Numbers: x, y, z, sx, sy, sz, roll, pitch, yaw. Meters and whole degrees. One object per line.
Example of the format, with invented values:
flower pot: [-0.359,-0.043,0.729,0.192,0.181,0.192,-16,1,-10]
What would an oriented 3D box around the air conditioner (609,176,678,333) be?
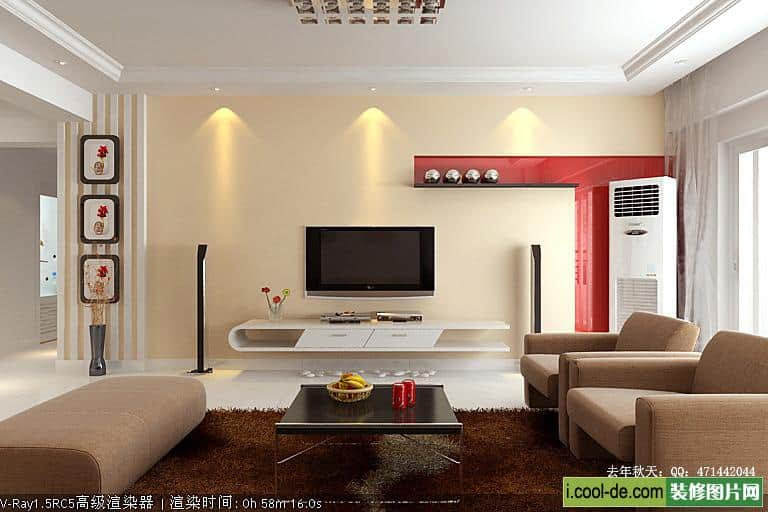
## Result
air conditioner: [2.951,-0.007,6.240,0.725,1.770,0.345,2,8,20]

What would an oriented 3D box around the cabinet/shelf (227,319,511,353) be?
cabinet/shelf: [-0.161,0.973,6.354,3.217,0.471,0.498,-1,7,0]

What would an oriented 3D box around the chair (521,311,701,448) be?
chair: [1.957,0.960,4.788,1.262,0.912,1.239,1,-4,-2]

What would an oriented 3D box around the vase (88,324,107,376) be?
vase: [-3.336,1.093,6.347,0.212,0.603,0.189,-6,9,-34]
